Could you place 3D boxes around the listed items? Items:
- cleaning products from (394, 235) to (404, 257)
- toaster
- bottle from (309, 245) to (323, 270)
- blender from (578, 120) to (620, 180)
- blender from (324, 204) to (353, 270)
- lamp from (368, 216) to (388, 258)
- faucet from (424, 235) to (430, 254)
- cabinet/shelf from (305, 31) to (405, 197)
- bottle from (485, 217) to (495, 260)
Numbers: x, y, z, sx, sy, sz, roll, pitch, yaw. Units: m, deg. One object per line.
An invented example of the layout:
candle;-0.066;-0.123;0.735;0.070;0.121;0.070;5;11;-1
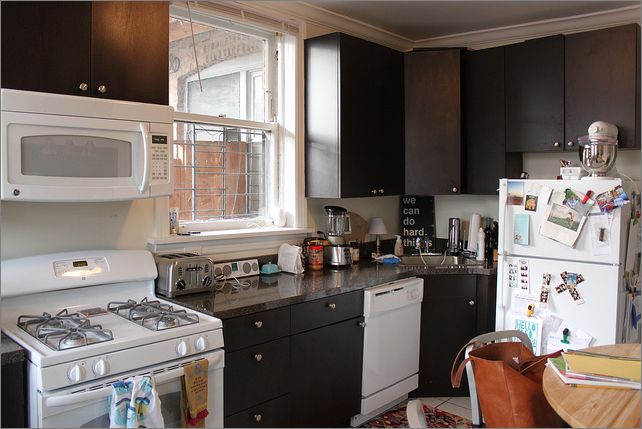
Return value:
cleaning products;0.747;0.287;4.502;0.091;0.189;0.299;-2;6;9
toaster;-0.906;0.391;3.087;0.353;0.216;0.271;-2;6;-44
bottle;-0.043;0.337;3.732;0.116;0.193;0.071;-3;6;-7
blender;2.105;-0.485;3.522;0.416;0.425;0.246;-6;7;-39
blender;0.137;0.173;3.870;0.231;0.492;0.231;-1;6;10
lamp;0.525;0.188;4.397;0.157;0.322;0.354;-2;6;5
faucet;1.036;0.280;4.582;0.056;0.134;0.154;-1;6;13
cabinet/shelf;0.317;-0.798;3.939;0.946;1.303;0.337;-6;6;-29
bottle;1.527;0.212;4.242;0.091;0.343;0.252;-1;6;19
